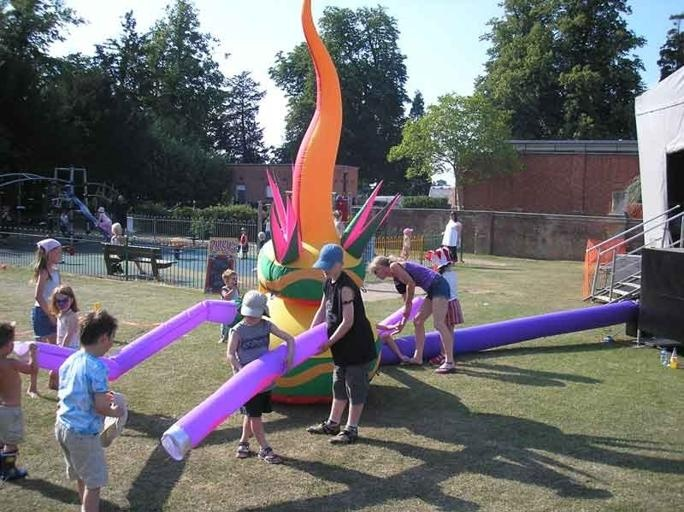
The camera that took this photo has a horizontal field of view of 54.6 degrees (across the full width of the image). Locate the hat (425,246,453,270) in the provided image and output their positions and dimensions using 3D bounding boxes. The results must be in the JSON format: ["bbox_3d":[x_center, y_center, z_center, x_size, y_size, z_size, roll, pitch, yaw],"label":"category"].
[{"bbox_3d":[1.633,0.019,11.068,0.320,0.317,0.468,-12,7,-10],"label":"hat"}]

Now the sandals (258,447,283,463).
[{"bbox_3d":[-0.826,2.271,7.638,0.281,0.171,0.179,1,9,-3],"label":"sandals"}]

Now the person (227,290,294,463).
[{"bbox_3d":[-0.947,1.348,7.773,0.736,1.943,0.763,-1,8,-9],"label":"person"}]

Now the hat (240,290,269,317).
[{"bbox_3d":[-1.002,0.547,7.663,0.245,0.195,0.335,2,4,-6],"label":"hat"}]

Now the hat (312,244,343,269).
[{"bbox_3d":[-0.144,-0.011,7.940,0.224,0.204,0.355,13,20,38],"label":"hat"}]

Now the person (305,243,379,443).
[{"bbox_3d":[-0.077,1.124,8.185,0.994,2.307,0.755,0,-3,-18],"label":"person"}]

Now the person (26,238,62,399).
[{"bbox_3d":[-4.171,0.871,9.485,0.509,2.156,0.672,2,1,28],"label":"person"}]
